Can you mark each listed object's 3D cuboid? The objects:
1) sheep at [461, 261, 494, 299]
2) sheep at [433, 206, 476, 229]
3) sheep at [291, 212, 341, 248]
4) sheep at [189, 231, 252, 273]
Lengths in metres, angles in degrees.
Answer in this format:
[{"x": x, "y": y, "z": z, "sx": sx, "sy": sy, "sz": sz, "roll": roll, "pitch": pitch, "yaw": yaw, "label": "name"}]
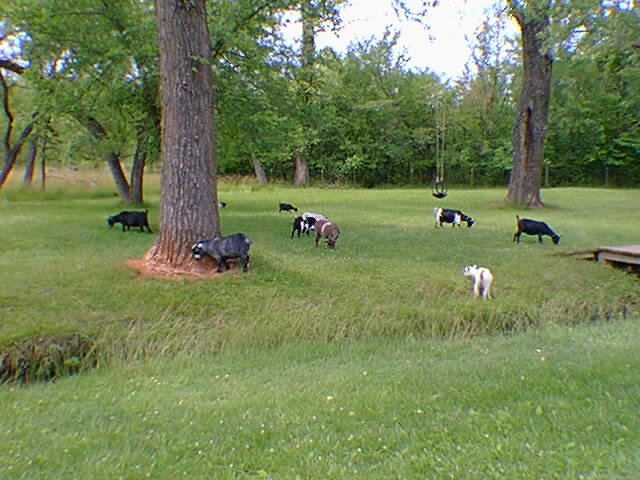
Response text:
[{"x": 3.637, "y": 0.874, "z": 13.565, "sx": 0.852, "sy": 0.521, "sz": 0.293, "roll": 11, "pitch": 2, "yaw": -19, "label": "sheep"}, {"x": 4.739, "y": -0.800, "z": 20.967, "sx": 1.303, "sy": 0.659, "sz": 1.439, "roll": 2, "pitch": 6, "yaw": 13, "label": "sheep"}, {"x": -0.092, "y": -0.312, "z": 18.086, "sx": 2.110, "sy": 1.143, "sz": 0.686, "roll": 15, "pitch": 16, "yaw": 43, "label": "sheep"}, {"x": -2.447, "y": 0.303, "z": 14.616, "sx": 1.505, "sy": 0.945, "sz": 0.493, "roll": -7, "pitch": 11, "yaw": 6, "label": "sheep"}]
